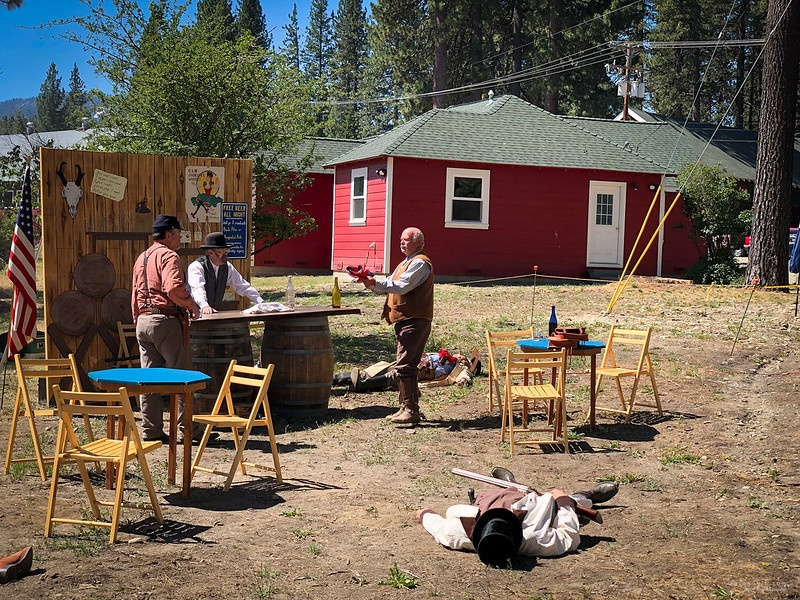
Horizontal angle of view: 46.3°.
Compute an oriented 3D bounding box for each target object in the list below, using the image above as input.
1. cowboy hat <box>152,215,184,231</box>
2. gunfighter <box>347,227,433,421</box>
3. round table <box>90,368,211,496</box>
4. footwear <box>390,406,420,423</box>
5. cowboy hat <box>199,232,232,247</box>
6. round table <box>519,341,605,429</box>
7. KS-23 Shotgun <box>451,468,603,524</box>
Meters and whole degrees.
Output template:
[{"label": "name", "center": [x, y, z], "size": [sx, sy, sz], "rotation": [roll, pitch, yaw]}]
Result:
[{"label": "cowboy hat", "center": [-2.824, -0.907, 11.351], "size": [0.208, 0.152, 0.295], "rotation": [7, 11, 44]}, {"label": "gunfighter", "center": [-0.030, 0.357, 13.085], "size": [1.222, 2.574, 0.932], "rotation": [0, 0, -21]}, {"label": "round table", "center": [-2.730, 1.470, 10.375], "size": [1.341, 1.344, 1.387], "rotation": [1, 1, 0]}, {"label": "footwear", "center": [0.068, 1.600, 12.864], "size": [0.287, 0.129, 0.242], "rotation": [3, -2, -7]}, {"label": "cowboy hat", "center": [-2.343, -0.754, 12.207], "size": [0.280, 0.128, 0.310], "rotation": [3, 6, 34]}, {"label": "round table", "center": [2.329, 1.161, 12.741], "size": [1.150, 1.141, 1.290], "rotation": [-4, -1, 2]}, {"label": "KS-23 Shotgun", "center": [1.346, 2.119, 10.027], "size": [0.225, 0.126, 1.480], "rotation": [-25, 25, -39]}]
